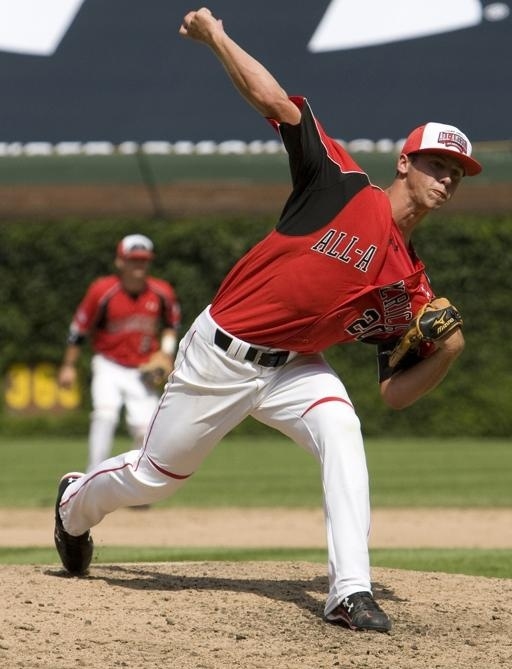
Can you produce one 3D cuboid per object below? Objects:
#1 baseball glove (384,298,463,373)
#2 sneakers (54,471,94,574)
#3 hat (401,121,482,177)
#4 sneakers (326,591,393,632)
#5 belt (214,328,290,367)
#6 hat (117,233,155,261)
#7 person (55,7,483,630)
[{"bbox_3d":[0.658,0.005,3.820,0.377,0.256,0.140,-31,33,19],"label":"baseball glove"},{"bbox_3d":[-0.782,0.842,4.205,0.198,0.444,0.231,-9,14,-41],"label":"sneakers"},{"bbox_3d":[0.741,-0.768,3.688,0.221,0.112,0.263,8,7,-29],"label":"hat"},{"bbox_3d":[0.381,1.006,3.368,0.127,0.095,0.258,8,-9,-36],"label":"sneakers"},{"bbox_3d":[-0.010,0.064,3.570,0.204,0.049,0.198,23,-3,-42],"label":"belt"},{"bbox_3d":[-0.840,-0.622,6.422,0.230,0.107,0.209,5,-12,-27],"label":"hat"},{"bbox_3d":[0.116,-0.085,3.746,1.588,2.389,0.807,0,-6,-2],"label":"person"}]
